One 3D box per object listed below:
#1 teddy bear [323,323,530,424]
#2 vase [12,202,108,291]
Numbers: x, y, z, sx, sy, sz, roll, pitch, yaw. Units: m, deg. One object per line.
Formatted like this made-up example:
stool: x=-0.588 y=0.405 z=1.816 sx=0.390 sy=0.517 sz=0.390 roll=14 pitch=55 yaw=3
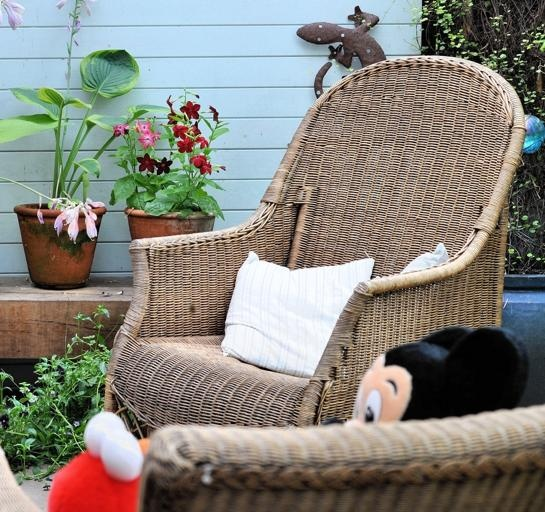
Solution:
teddy bear: x=0.157 y=0.117 z=0.655 sx=0.157 sy=0.042 sz=0.095 roll=-18 pitch=50 yaw=-5
vase: x=-0.795 y=-0.030 z=2.462 sx=0.351 sy=0.218 sz=0.324 roll=0 pitch=-1 yaw=-33
